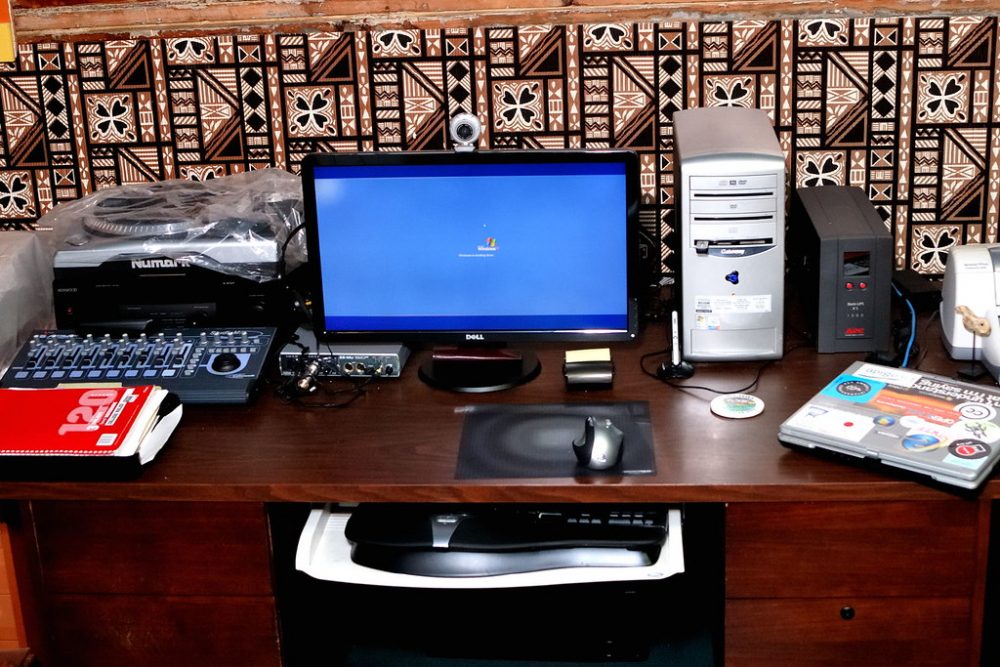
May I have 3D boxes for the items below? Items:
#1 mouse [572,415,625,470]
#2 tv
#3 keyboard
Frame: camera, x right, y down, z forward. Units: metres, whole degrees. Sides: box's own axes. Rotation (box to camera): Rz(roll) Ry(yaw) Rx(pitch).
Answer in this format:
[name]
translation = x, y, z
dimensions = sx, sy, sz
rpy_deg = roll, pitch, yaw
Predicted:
[mouse]
translation = 0.212, 0.235, 1.769
dimensions = 0.125, 0.092, 0.106
rpy_deg = 0, 8, -3
[tv]
translation = -0.070, -0.164, 2.013
dimensions = 0.749, 0.424, 0.251
rpy_deg = -1, 16, 2
[keyboard]
translation = -0.003, 0.441, 1.735
dimensions = 0.479, 0.061, 0.239
rpy_deg = 0, 8, 3
